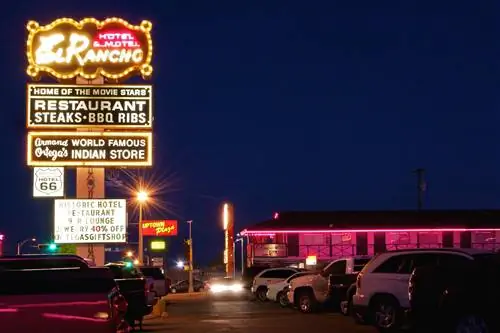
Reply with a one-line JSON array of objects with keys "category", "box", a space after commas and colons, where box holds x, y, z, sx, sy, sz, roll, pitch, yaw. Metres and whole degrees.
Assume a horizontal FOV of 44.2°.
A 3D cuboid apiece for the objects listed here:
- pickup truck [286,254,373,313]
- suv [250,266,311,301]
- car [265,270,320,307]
[{"category": "pickup truck", "box": [2.845, 4.772, 24.945, 3.754, 1.610, 1.860, -6, -9, 28]}, {"category": "suv", "box": [1.627, 6.635, 35.135, 3.374, 1.467, 1.598, -7, -4, 12]}, {"category": "car", "box": [1.934, 6.244, 31.052, 2.950, 1.264, 1.372, -15, -9, 12]}]
